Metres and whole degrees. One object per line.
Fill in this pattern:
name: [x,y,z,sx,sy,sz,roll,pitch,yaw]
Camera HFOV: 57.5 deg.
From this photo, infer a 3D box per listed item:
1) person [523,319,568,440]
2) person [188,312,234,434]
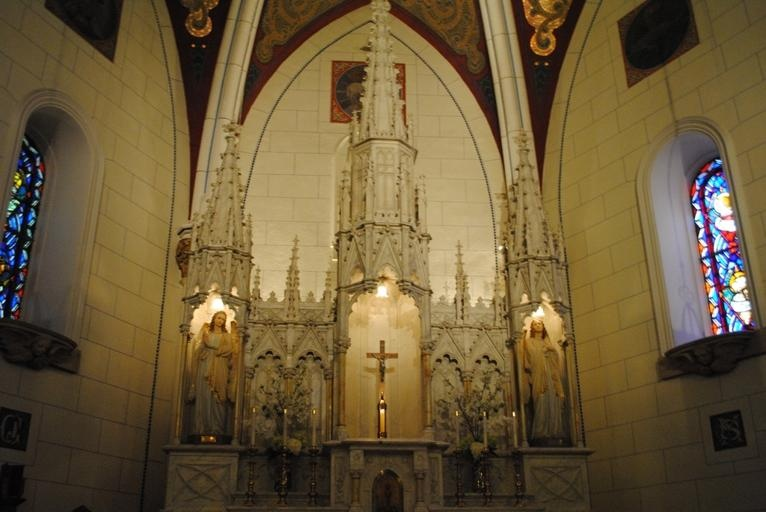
person: [2.502,1.953,10.833,0.615,1.898,0.330,-5,-22,12]
person: [-2.558,1.810,10.553,0.665,1.930,0.345,5,-23,-14]
